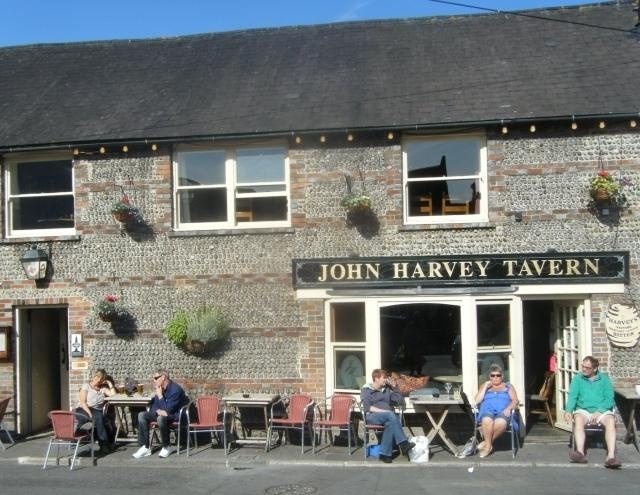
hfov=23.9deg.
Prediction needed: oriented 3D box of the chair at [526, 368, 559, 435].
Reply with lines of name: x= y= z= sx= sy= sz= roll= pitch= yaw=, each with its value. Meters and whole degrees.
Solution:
chair: x=4.334 y=3.070 z=30.411 sx=0.751 sy=0.984 sz=0.737 roll=-1 pitch=1 yaw=-21

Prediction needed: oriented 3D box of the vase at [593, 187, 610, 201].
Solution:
vase: x=5.349 y=-0.993 z=28.784 sx=0.272 sy=0.209 sz=0.205 roll=5 pitch=-6 yaw=-25

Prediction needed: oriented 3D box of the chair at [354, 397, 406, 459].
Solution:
chair: x=1.197 y=3.532 z=28.233 sx=0.401 sy=0.939 sz=0.780 roll=4 pitch=-7 yaw=-44

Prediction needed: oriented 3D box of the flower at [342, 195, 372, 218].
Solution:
flower: x=0.720 y=-0.784 z=29.276 sx=0.481 sy=0.305 sz=0.471 roll=-1 pitch=-3 yaw=4

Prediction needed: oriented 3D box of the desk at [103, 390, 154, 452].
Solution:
desk: x=-3.825 y=3.369 z=29.375 sx=1.084 sy=0.924 sz=0.961 roll=-1 pitch=-7 yaw=4

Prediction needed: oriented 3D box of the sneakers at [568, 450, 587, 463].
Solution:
sneakers: x=4.723 y=3.920 z=27.707 sx=0.158 sy=0.128 sz=0.316 roll=-27 pitch=-64 yaw=40

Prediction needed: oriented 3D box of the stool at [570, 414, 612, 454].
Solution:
stool: x=5.030 y=3.595 z=28.043 sx=0.797 sy=0.877 sz=0.718 roll=-4 pitch=-40 yaw=15

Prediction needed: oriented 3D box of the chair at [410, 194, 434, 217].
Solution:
chair: x=2.038 y=-0.805 z=29.822 sx=0.436 sy=0.712 sz=0.412 roll=2 pitch=9 yaw=10

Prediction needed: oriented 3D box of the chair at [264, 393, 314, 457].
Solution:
chair: x=-0.500 y=3.389 z=28.724 sx=0.821 sy=1.004 sz=0.869 roll=1 pitch=0 yaw=39

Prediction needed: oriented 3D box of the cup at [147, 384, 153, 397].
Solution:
cup: x=-3.319 y=2.850 z=29.650 sx=0.154 sy=0.267 sz=0.282 roll=0 pitch=-4 yaw=3

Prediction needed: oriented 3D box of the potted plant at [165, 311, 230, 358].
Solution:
potted plant: x=-2.400 y=1.678 z=29.552 sx=1.063 sy=0.703 sz=1.059 roll=2 pitch=-6 yaw=22

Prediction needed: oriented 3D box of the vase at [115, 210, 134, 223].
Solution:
vase: x=-3.851 y=-0.587 z=29.764 sx=0.255 sy=0.166 sz=0.243 roll=-1 pitch=0 yaw=11

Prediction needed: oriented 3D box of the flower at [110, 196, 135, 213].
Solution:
flower: x=-3.886 y=-0.828 z=29.711 sx=0.352 sy=0.178 sz=0.317 roll=-7 pitch=3 yaw=-7

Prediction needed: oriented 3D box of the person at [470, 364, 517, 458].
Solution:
person: x=3.312 y=3.123 z=28.312 sx=0.758 sy=1.715 sz=0.432 roll=-1 pitch=-5 yaw=4

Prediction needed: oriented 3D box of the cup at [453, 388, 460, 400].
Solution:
cup: x=2.588 y=2.835 z=28.639 sx=0.147 sy=0.167 sz=0.482 roll=1 pitch=3 yaw=7

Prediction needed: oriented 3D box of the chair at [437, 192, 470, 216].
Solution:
chair: x=2.647 y=-0.807 z=29.567 sx=0.451 sy=0.557 sz=0.336 roll=1 pitch=1 yaw=5

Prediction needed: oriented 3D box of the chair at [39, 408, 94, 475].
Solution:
chair: x=-4.519 y=3.623 z=28.503 sx=1.139 sy=1.461 sz=1.141 roll=0 pitch=0 yaw=17

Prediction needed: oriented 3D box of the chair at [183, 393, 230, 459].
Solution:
chair: x=-2.093 y=3.457 z=28.819 sx=0.848 sy=1.019 sz=0.849 roll=-2 pitch=1 yaw=13

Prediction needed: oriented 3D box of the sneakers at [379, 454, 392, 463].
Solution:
sneakers: x=1.229 y=3.977 z=28.056 sx=0.244 sy=0.149 sz=0.174 roll=0 pitch=-5 yaw=1

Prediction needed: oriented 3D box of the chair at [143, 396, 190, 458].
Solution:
chair: x=-3.019 y=3.328 z=28.815 sx=0.973 sy=1.440 sz=0.565 roll=0 pitch=-5 yaw=-5

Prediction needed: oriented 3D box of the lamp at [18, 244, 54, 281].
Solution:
lamp: x=-5.621 y=0.373 z=29.910 sx=0.703 sy=0.853 sz=0.657 roll=0 pitch=-1 yaw=-9

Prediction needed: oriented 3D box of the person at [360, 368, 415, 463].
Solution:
person: x=1.294 y=3.295 z=28.538 sx=0.854 sy=1.811 sz=1.323 roll=22 pitch=-36 yaw=-31

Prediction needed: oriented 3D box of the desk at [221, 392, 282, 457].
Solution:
desk: x=-1.403 y=3.493 z=29.269 sx=1.281 sy=1.066 sz=1.047 roll=-2 pitch=-15 yaw=7

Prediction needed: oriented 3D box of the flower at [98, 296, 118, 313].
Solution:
flower: x=-4.178 y=1.161 z=29.788 sx=0.382 sy=0.384 sz=0.306 roll=0 pitch=-5 yaw=-4

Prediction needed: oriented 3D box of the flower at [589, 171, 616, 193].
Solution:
flower: x=5.372 y=-1.222 z=28.690 sx=0.467 sy=0.362 sz=0.443 roll=2 pitch=1 yaw=8

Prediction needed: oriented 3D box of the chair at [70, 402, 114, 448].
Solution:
chair: x=-4.565 y=3.497 z=29.057 sx=0.835 sy=0.942 sz=0.763 roll=1 pitch=3 yaw=12

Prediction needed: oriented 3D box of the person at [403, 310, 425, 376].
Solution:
person: x=1.813 y=1.916 z=29.231 sx=0.381 sy=1.228 sz=0.106 roll=-1 pitch=-5 yaw=6

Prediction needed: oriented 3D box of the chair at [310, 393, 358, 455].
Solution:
chair: x=0.308 y=3.381 z=28.421 sx=0.775 sy=1.011 sz=0.800 roll=-1 pitch=-1 yaw=11

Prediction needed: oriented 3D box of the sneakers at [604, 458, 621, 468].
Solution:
sneakers: x=5.327 y=3.986 z=27.436 sx=0.307 sy=0.205 sz=0.186 roll=-1 pitch=-5 yaw=7

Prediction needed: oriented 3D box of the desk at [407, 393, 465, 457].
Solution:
desk: x=2.207 y=3.427 z=28.646 sx=1.138 sy=0.987 sz=1.133 roll=0 pitch=-4 yaw=7

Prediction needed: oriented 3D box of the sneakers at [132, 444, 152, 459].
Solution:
sneakers: x=-3.351 y=3.953 z=28.627 sx=0.395 sy=0.169 sz=0.160 roll=1 pitch=-5 yaw=-3

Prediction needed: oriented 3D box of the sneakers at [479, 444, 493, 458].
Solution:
sneakers: x=3.112 y=3.880 z=28.247 sx=0.436 sy=0.215 sz=0.198 roll=4 pitch=-7 yaw=-44
